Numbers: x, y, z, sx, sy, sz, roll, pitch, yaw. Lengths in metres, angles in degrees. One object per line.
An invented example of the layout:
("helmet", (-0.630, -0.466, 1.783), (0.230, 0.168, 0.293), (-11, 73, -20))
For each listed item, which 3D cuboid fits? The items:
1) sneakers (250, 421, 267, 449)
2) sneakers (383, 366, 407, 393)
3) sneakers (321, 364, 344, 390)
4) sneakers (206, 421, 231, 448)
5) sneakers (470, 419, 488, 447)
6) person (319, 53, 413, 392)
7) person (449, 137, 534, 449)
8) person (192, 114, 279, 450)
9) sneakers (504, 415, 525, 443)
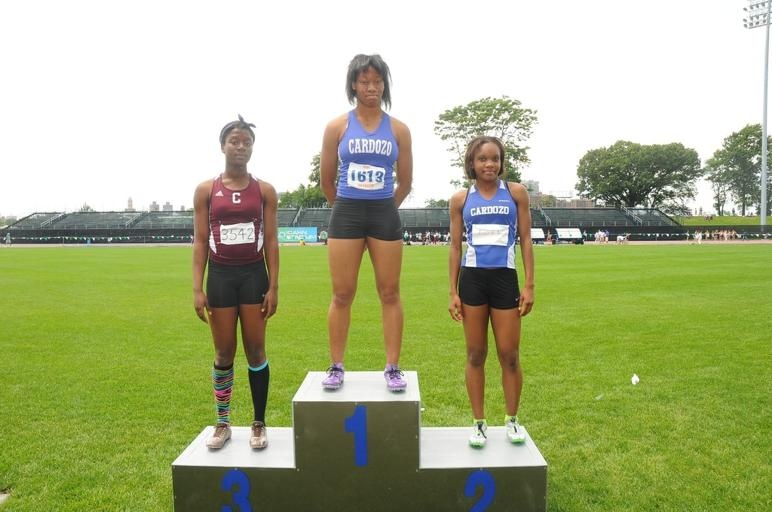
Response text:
("sneakers", (-1.409, 2.040, 6.440), (0.123, 0.142, 0.349), (0, 4, -8))
("sneakers", (0.111, 1.393, 6.505), (0.244, 0.232, 0.392), (-2, 3, 0))
("sneakers", (-0.589, 1.377, 6.520), (0.232, 0.237, 0.332), (-2, 3, -2))
("sneakers", (-1.871, 2.042, 6.503), (0.237, 0.228, 0.264), (-2, 3, -5))
("sneakers", (1.042, 1.999, 6.494), (0.189, 0.276, 0.287), (-2, 3, 9))
("person", (-0.218, -0.456, 6.761), (1.089, 3.820, 0.826), (-2, 2, -1))
("person", (1.211, 0.358, 6.633), (0.926, 3.506, 0.679), (-1, 3, 14))
("person", (-1.719, 0.249, 6.690), (0.987, 3.747, 0.734), (-3, 3, -13))
("sneakers", (1.476, 1.975, 6.522), (0.235, 0.285, 0.237), (-2, 3, 9))
